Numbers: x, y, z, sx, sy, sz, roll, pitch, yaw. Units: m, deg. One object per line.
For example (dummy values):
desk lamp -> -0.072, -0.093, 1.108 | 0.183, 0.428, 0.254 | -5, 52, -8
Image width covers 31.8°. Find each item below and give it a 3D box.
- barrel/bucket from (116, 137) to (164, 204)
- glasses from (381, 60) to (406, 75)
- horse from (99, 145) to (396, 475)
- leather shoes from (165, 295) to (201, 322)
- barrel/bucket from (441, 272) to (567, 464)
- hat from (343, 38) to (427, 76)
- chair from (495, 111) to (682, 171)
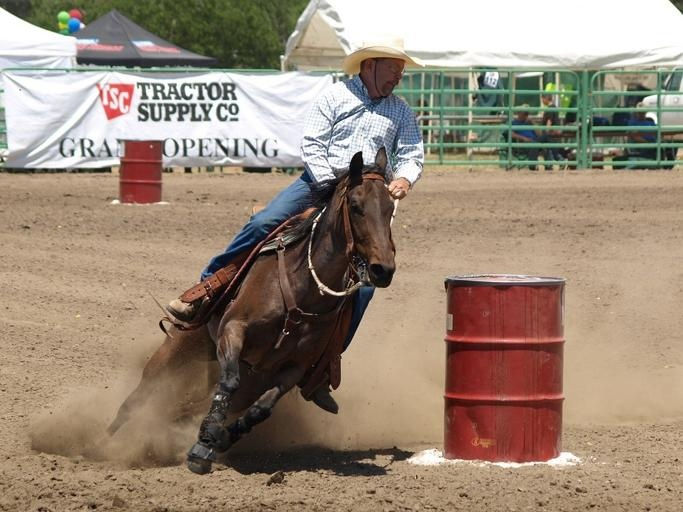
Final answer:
barrel/bucket -> -3.562, -1.484, 21.301 | 1.039, 1.091, 0.985 | 2, 2, 0
glasses -> 0.551, -2.044, 12.941 | 0.205, 0.114, 0.152 | 34, 13, 34
horse -> -0.767, 0.569, 12.903 | 2.938, 3.431, 1.607 | 3, 16, 18
leather shoes -> -1.747, 0.586, 13.300 | 0.179, 0.207, 0.455 | 47, 8, 17
barrel/bucket -> 1.721, 1.225, 12.888 | 1.259, 1.931, 0.584 | 0, 15, 7
hat -> 0.382, -2.122, 13.070 | 1.035, 0.339, 0.790 | -1, -4, 24
chair -> 5.319, -2.532, 25.780 | 3.812, 1.466, 1.322 | -1, 15, 3
